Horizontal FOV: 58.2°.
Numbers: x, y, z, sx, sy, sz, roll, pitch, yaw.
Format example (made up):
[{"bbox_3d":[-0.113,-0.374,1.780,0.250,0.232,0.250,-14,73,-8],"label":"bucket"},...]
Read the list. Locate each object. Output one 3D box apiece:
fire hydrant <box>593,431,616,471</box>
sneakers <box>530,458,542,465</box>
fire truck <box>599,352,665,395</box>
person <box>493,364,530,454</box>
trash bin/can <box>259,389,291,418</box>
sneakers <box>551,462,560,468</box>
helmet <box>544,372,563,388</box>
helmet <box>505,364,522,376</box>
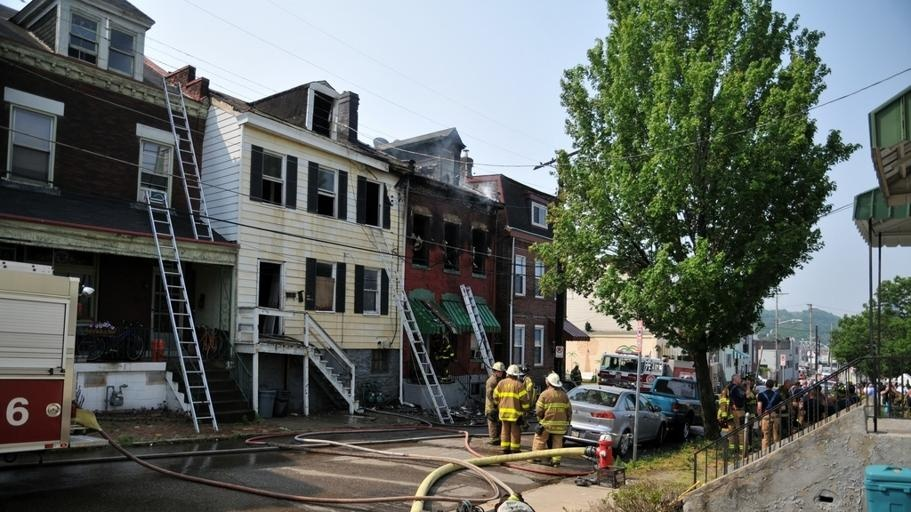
[{"bbox_3d":[4.263,5.621,23.367,0.384,0.967,0.321,-5,-13,11],"label":"fire hydrant"},{"bbox_3d":[2.490,6.274,24.831,0.185,0.238,0.551,-1,-18,0],"label":"sneakers"},{"bbox_3d":[9.351,5.709,41.601,2.819,2.380,4.330,-7,-15,40],"label":"fire truck"},{"bbox_3d":[1.775,4.802,25.529,0.878,2.682,1.012,1,-13,-14],"label":"person"},{"bbox_3d":[-6.699,5.451,30.011,0.771,0.732,1.056,2,-1,-2],"label":"trash bin/can"},{"bbox_3d":[3.016,6.274,24.434,0.175,0.129,0.174,1,-6,-1],"label":"sneakers"},{"bbox_3d":[2.992,3.855,25.245,0.422,0.243,0.561,-2,8,-13],"label":"helmet"},{"bbox_3d":[1.875,3.615,25.866,0.355,0.209,0.468,3,-10,17],"label":"helmet"}]
